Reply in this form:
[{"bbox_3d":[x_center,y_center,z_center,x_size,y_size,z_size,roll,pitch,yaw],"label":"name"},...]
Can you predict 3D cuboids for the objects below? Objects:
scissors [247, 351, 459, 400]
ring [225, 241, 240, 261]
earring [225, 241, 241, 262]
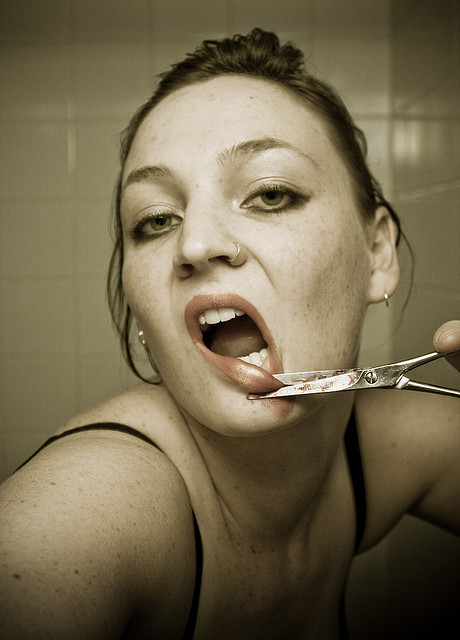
[{"bbox_3d":[0.170,0.078,0.936,0.304,0.100,0.011,-1,-19,-21],"label":"scissors"},{"bbox_3d":[0.003,-0.088,0.914,0.023,0.023,0.005,4,5,-45],"label":"ring"},{"bbox_3d":[0.004,-0.088,0.920,0.005,0.025,0.024,9,-8,8],"label":"earring"}]
